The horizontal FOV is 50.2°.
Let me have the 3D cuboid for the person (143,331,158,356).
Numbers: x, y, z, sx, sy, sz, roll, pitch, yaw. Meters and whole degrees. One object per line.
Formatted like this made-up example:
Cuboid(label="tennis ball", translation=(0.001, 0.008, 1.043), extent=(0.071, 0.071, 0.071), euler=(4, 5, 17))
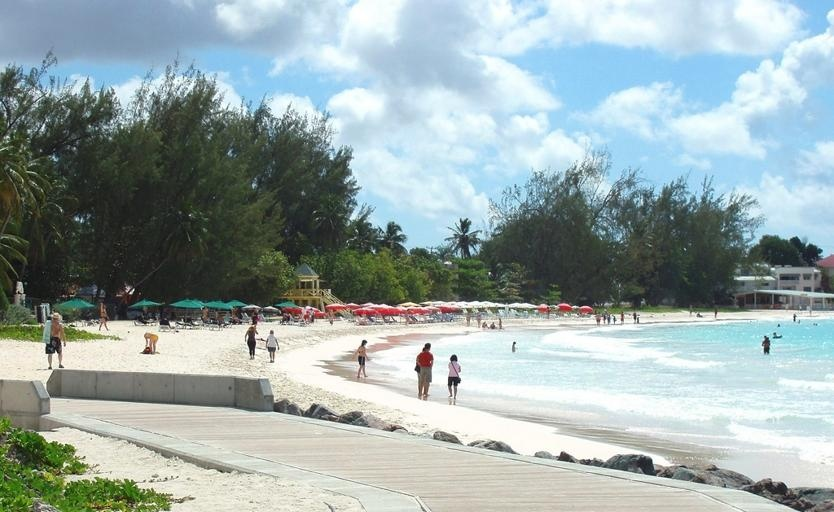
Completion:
Cuboid(label="person", translation=(-15.003, 4.900, 49.985), extent=(0.874, 1.581, 1.156), euler=(2, 10, -19))
